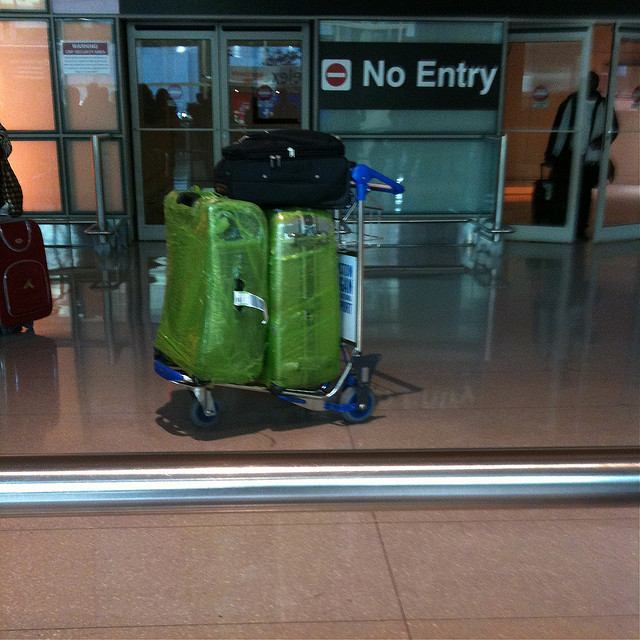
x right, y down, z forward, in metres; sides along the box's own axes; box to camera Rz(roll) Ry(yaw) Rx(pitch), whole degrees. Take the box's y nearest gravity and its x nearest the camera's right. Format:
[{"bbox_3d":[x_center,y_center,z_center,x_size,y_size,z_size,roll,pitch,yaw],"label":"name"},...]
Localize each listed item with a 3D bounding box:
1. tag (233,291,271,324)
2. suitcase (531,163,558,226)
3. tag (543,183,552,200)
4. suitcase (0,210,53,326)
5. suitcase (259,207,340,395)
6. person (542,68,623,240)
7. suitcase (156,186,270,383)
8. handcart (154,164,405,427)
[{"bbox_3d":[-0.246,-0.071,2.764,0.039,0.088,0.150,-23,-28,30],"label":"tag"},{"bbox_3d":[2.580,-1.445,7.812,0.292,0.699,0.091,5,7,10],"label":"suitcase"},{"bbox_3d":[2.584,-1.468,7.783,0.103,0.177,0.030,4,7,8],"label":"tag"},{"bbox_3d":[-1.907,-0.322,4.367,0.203,0.685,0.350,6,7,18],"label":"suitcase"},{"bbox_3d":[-0.075,-0.078,2.893,0.355,0.783,0.165,3,7,-4],"label":"suitcase"},{"bbox_3d":[2.891,-2.020,7.764,0.882,1.448,0.458,-1,24,-16],"label":"person"},{"bbox_3d":[-0.420,-0.147,2.887,0.400,0.825,0.433,1,7,-19],"label":"suitcase"},{"bbox_3d":[-0.038,-0.080,3.332,1.136,1.292,1.217,-4,17,-21],"label":"handcart"}]
